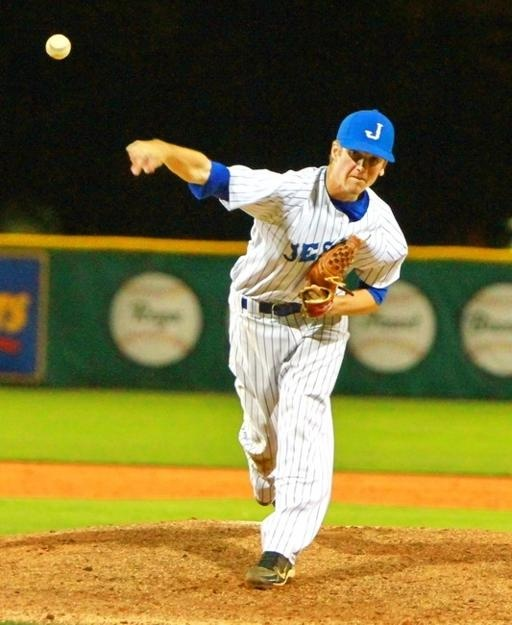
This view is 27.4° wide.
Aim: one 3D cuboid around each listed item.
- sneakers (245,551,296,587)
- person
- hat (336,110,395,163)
[{"bbox_3d":[0.059,0.921,3.771,0.088,0.067,0.185,1,-3,21],"label":"sneakers"},{"bbox_3d":[0.086,0.165,3.992,0.833,1.688,1.058,8,33,9],"label":"person"},{"bbox_3d":[0.413,-0.663,3.945,0.184,0.135,0.233,15,16,-23],"label":"hat"}]
